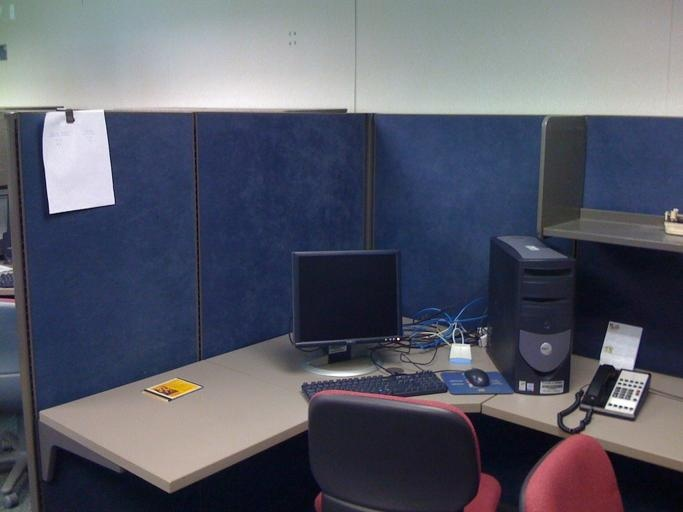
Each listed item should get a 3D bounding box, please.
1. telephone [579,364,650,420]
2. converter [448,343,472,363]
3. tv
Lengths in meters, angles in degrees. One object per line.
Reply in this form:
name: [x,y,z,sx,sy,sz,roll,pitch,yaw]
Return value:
telephone: [1.036,0.501,2.031,0.203,0.103,0.268,-1,18,36]
converter: [0.520,0.426,2.351,0.119,0.115,0.063,2,5,11]
tv: [0.056,0.212,2.493,0.607,0.735,0.453,0,1,-8]
